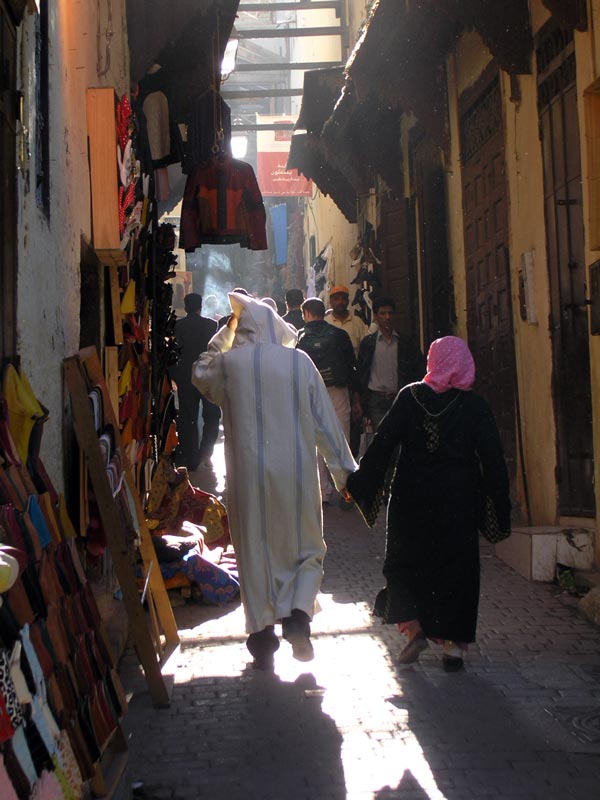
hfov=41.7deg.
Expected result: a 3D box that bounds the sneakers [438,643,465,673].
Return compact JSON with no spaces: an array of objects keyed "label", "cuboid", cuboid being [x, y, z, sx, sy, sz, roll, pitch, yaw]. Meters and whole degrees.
[{"label":"sneakers","cuboid":[0.706,1.202,3.681,0.129,0.184,0.062,-1,2,-40]}]

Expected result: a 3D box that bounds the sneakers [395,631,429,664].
[{"label":"sneakers","cuboid":[0.521,1.162,3.669,0.078,0.214,0.089,24,22,-13]}]
